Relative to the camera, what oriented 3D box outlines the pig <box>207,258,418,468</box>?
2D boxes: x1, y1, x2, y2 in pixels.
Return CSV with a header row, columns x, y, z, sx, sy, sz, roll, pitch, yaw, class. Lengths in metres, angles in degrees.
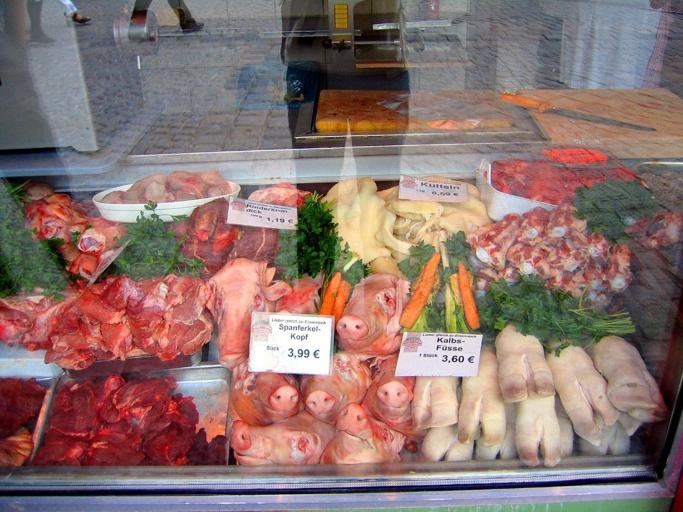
x,y,z,sx,sy,sz,roll,pitch,yaw,class
-0.101,0.376,1.487,0.717,0.630,0.447,-2,33,-1,pig
